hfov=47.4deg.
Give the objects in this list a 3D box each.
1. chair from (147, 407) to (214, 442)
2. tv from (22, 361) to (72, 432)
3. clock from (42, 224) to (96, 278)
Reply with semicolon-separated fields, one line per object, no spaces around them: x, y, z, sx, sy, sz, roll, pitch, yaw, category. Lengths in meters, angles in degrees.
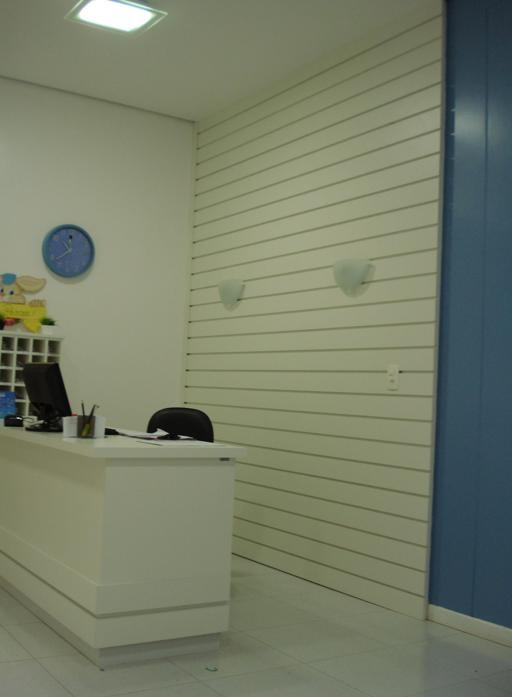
-0.409;0.419;3.333;0.247;0.255;0.323;-2;3;10;chair
-0.985;0.233;2.788;0.152;0.277;0.298;13;-1;-42;tv
-1.458;-0.760;4.617;0.418;0.438;0.074;11;-12;-36;clock
